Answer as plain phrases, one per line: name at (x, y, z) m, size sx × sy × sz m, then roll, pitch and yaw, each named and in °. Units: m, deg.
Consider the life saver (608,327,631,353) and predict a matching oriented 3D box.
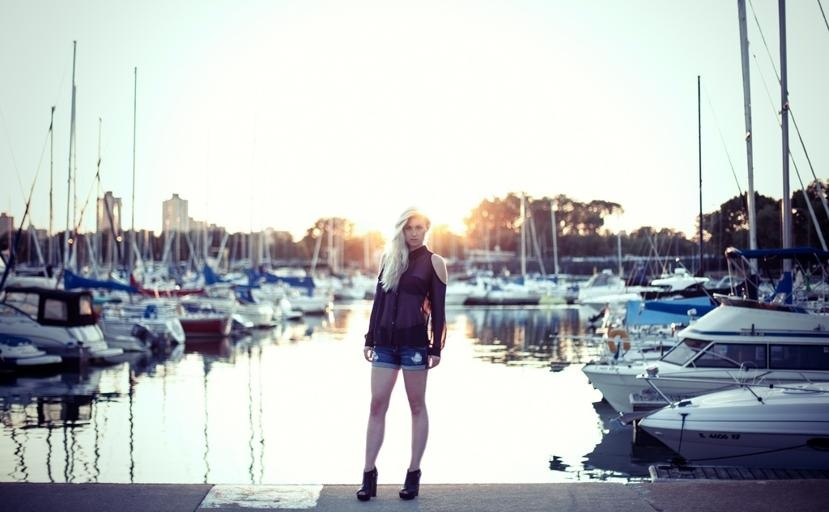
life saver at (6.563, 2.694, 29.812) m, size 0.821 × 0.818 × 0.204 m, roll 2°, pitch -10°, yaw -8°
